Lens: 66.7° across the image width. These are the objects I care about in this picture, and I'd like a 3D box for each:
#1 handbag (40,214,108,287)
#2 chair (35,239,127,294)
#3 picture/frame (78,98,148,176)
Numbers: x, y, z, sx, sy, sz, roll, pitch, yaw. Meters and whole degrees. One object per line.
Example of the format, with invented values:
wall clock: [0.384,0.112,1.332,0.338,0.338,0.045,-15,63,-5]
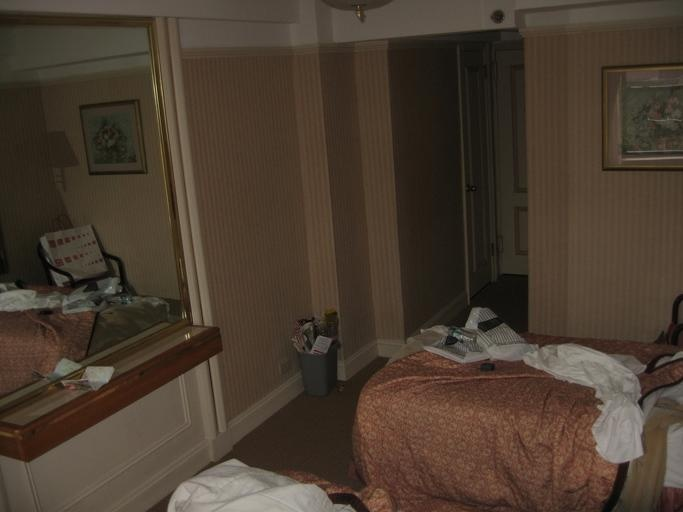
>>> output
handbag: [-1.515,-0.042,2.901,0.119,0.316,0.323,3,24,29]
chair: [-1.475,0.083,2.981,0.283,0.409,0.273,-2,13,31]
picture/frame: [-1.368,-0.707,3.058,0.028,0.434,0.395,2,24,37]
